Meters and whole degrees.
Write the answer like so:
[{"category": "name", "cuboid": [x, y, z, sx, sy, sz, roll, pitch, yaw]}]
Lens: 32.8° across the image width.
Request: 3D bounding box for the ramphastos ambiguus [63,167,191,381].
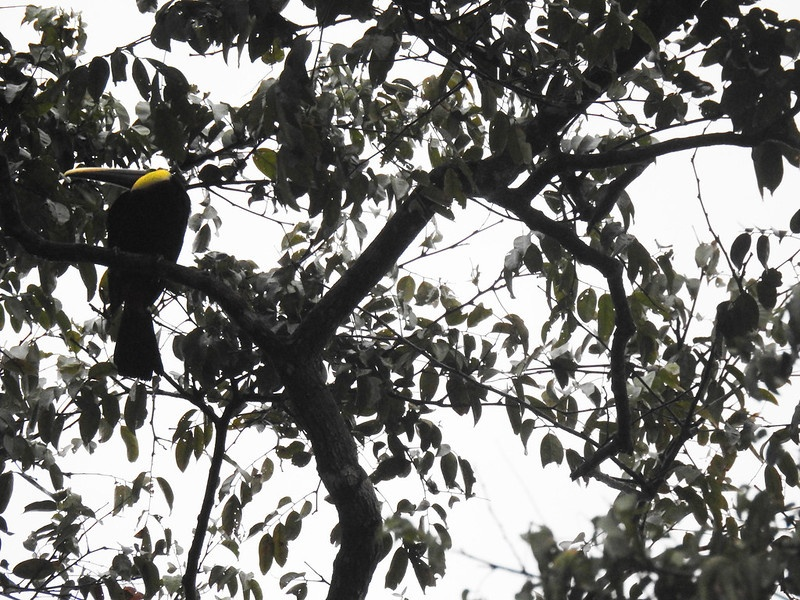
[{"category": "ramphastos ambiguus", "cuboid": [-1.116, -0.116, 5.465, 0.239, 0.448, 0.950, 1, -88, 13]}]
